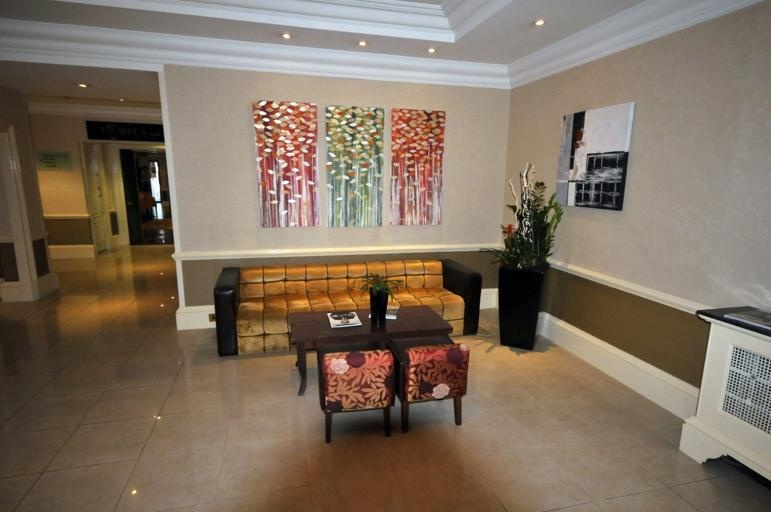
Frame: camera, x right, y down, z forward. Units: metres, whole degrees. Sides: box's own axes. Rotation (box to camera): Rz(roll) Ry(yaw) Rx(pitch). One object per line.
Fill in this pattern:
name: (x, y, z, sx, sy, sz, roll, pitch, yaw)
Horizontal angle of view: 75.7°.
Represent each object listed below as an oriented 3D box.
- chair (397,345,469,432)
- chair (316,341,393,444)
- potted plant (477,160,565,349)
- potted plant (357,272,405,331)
chair: (0.435, 1.256, 5.318, 0.749, 0.910, 0.914, -3, 11, -17)
chair: (-0.230, 1.242, 4.949, 0.743, 0.942, 0.905, -2, 21, -6)
potted plant: (1.897, -0.025, 6.597, 0.833, 2.369, 0.919, 2, 11, 19)
potted plant: (-0.101, 0.494, 5.547, 0.429, 0.523, 0.481, 6, 9, -3)
